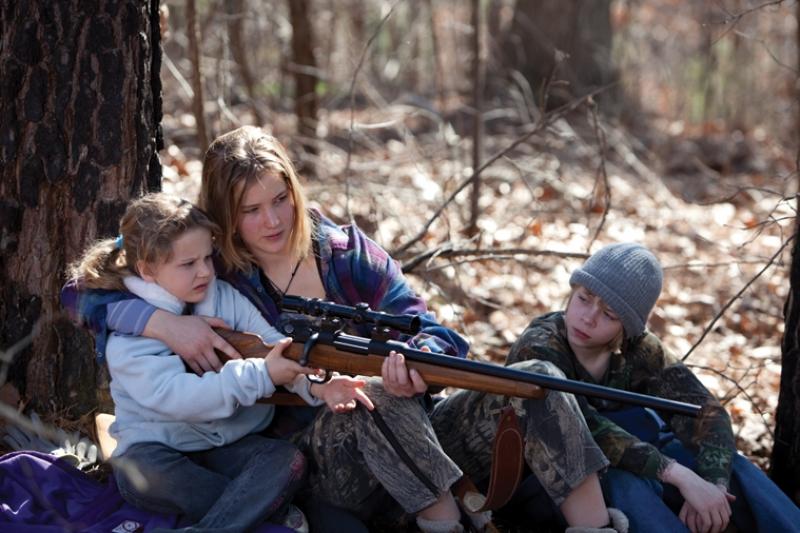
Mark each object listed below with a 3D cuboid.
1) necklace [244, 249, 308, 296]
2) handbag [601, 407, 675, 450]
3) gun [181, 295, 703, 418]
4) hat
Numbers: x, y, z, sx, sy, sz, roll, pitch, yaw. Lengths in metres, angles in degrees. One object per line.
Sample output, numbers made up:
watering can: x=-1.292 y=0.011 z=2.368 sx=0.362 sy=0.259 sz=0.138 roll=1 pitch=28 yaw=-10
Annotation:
necklace: x=-0.855 y=0.053 z=6.126 sx=0.231 sy=0.360 sz=0.098 roll=44 pitch=-14 yaw=3
handbag: x=1.783 y=1.245 z=6.017 sx=0.370 sy=0.108 sz=0.371 roll=30 pitch=6 yaw=-10
gun: x=0.216 y=0.662 z=5.766 sx=2.634 sy=0.654 sz=0.467 roll=10 pitch=2 yaw=16
hat: x=1.566 y=0.093 z=6.116 sx=0.547 sy=0.652 sz=0.714 roll=27 pitch=14 yaw=-10
